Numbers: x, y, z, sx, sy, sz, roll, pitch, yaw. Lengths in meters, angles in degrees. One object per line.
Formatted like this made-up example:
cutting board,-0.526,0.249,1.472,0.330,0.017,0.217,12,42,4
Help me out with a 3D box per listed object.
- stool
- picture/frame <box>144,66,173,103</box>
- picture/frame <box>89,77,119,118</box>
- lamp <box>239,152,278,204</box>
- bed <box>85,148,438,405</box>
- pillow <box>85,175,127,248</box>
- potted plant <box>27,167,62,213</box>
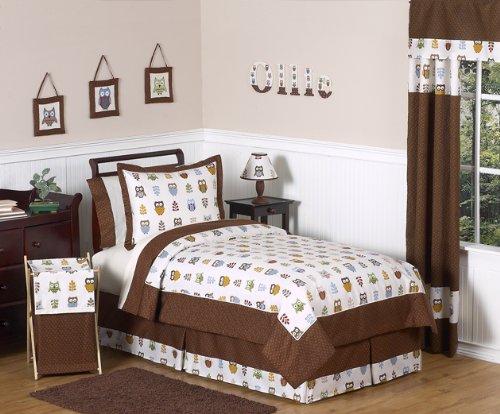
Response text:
stool,-1.128,0.604,3.022,0.452,0.681,0.455,5,15,-4
picture/frame,-0.870,-1.153,4.581,0.327,0.375,0.034,-8,12,-42
picture/frame,-1.271,-0.952,4.222,0.044,0.355,0.320,7,11,44
lamp,0.079,-0.259,4.251,0.272,0.442,0.296,-15,21,-40
bed,-0.114,0.286,3.206,1.987,1.185,1.312,8,14,44
pillow,-1.036,0.025,3.628,0.098,0.453,0.431,-8,-3,12
potted plant,-1.488,-0.135,3.507,0.202,0.331,0.180,-6,7,-23
